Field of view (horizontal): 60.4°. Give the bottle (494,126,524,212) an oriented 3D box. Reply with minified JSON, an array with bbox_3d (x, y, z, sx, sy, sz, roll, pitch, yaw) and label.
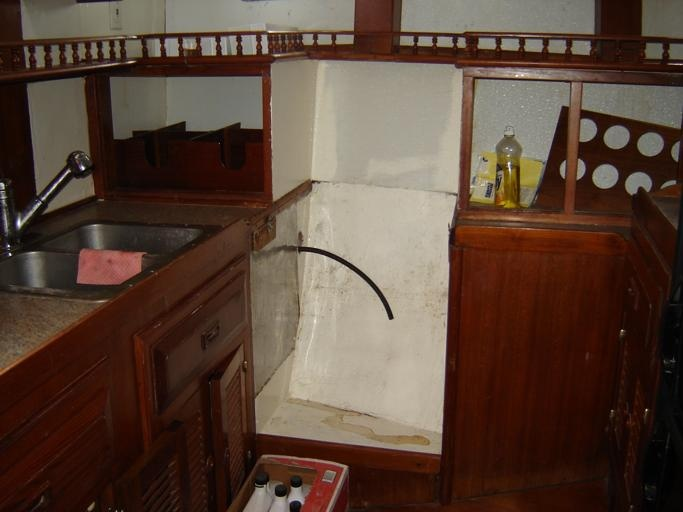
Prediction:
[{"bbox_3d":[0.694,-0.376,2.437,0.128,0.327,0.066,7,14,14],"label":"bottle"}]

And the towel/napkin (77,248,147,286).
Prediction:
[{"bbox_3d":[-0.757,0.039,1.942,0.205,0.121,0.046,1,5,1],"label":"towel/napkin"}]
